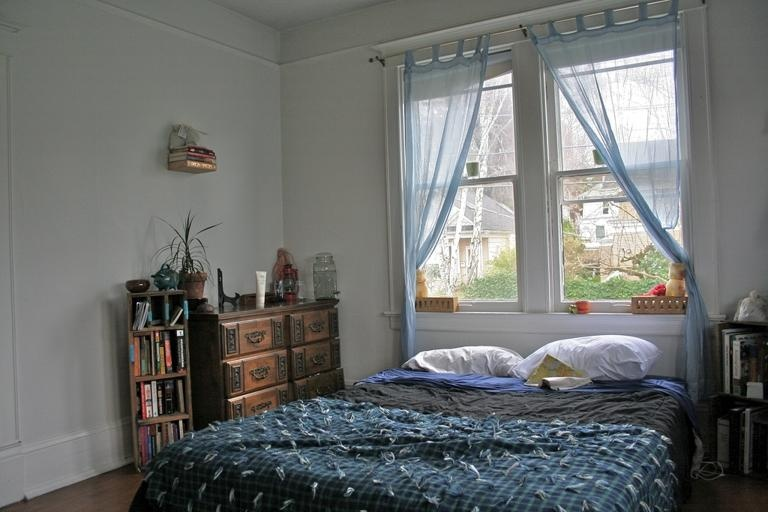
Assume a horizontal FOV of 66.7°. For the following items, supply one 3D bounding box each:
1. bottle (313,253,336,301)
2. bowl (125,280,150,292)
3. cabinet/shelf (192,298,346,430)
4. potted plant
[{"bbox_3d":[-0.557,0.175,5.568,0.238,0.404,0.329,-4,11,-8],"label":"bottle"},{"bbox_3d":[-1.913,0.230,4.510,0.115,0.064,0.117,-3,-3,0],"label":"bowl"},{"bbox_3d":[-0.953,0.997,5.110,0.487,1.118,1.328,-3,0,42],"label":"cabinet/shelf"},{"bbox_3d":[-1.679,0.005,4.944,0.665,0.878,0.626,-2,-5,16],"label":"potted plant"}]
